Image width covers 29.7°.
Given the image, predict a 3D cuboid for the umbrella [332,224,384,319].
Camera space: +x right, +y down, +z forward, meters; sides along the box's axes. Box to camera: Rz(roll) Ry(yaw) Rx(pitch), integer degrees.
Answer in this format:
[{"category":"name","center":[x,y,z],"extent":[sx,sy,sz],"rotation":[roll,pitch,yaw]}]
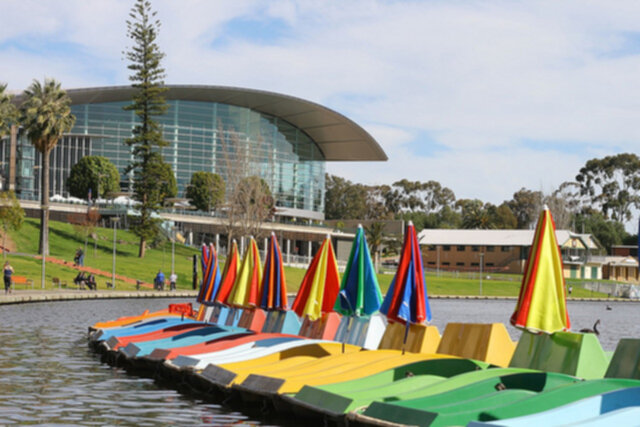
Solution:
[{"category":"umbrella","center":[1.943,2.752,62.371],"extent":[2.649,4.424,2.377],"rotation":[3,-5,7]}]

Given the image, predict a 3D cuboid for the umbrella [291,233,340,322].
[{"category":"umbrella","center":[0.083,3.175,63.416],"extent":[2.188,4.434,2.483],"rotation":[8,3,-23]}]

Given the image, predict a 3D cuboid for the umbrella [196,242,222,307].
[{"category":"umbrella","center":[-6.562,3.557,69.461],"extent":[1.318,2.986,1.870],"rotation":[12,2,18]}]

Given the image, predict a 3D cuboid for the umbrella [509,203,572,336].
[{"category":"umbrella","center":[10.811,2.756,58.612],"extent":[3.097,5.918,2.794],"rotation":[-3,9,-42]}]

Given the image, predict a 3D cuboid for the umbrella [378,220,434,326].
[{"category":"umbrella","center":[4.337,2.999,60.511],"extent":[2.507,4.662,2.279],"rotation":[5,3,41]}]

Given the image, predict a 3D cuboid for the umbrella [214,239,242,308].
[{"category":"umbrella","center":[-5.106,3.439,67.715],"extent":[1.407,3.568,1.441],"rotation":[2,7,-4]}]
